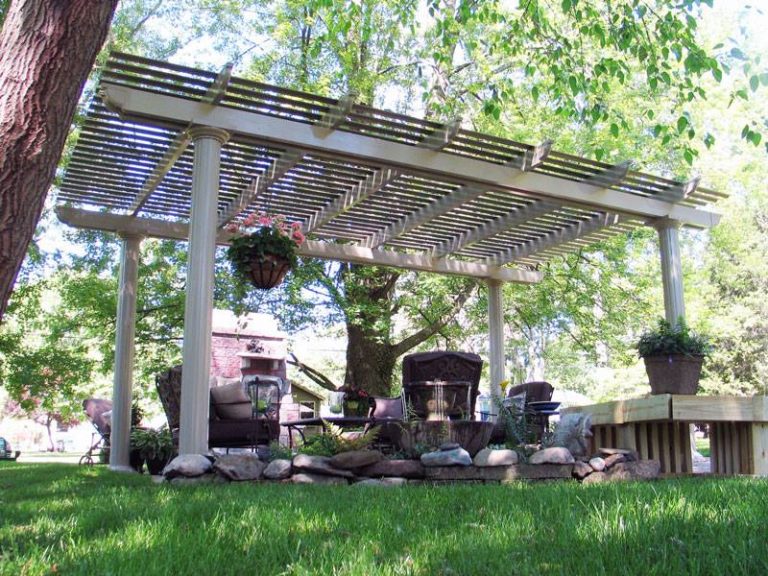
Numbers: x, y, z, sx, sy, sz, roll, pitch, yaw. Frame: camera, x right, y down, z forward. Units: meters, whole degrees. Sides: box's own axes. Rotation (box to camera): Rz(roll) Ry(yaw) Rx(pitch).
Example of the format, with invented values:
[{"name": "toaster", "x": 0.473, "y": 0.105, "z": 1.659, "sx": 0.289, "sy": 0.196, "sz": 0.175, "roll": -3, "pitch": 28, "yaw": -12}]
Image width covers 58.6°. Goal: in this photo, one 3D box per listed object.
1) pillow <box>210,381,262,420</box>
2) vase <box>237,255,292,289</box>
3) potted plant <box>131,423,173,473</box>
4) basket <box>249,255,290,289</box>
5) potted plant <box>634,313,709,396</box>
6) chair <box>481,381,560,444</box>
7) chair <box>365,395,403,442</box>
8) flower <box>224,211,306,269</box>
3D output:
[{"name": "pillow", "x": -1.682, "y": 1.222, "z": 7.596, "sx": 0.392, "sy": 0.451, "sz": 0.178, "roll": -5, "pitch": 5, "yaw": -15}, {"name": "vase", "x": -1.311, "y": -0.149, "z": 7.531, "sx": 0.356, "sy": 0.306, "sz": 0.386, "roll": -3, "pitch": -10, "yaw": 11}, {"name": "potted plant", "x": -2.901, "y": 2.036, "z": 8.538, "sx": 0.597, "sy": 0.659, "sz": 0.648, "roll": 2, "pitch": -14, "yaw": -8}, {"name": "basket", "x": -1.284, "y": -0.130, "z": 7.540, "sx": 0.332, "sy": 0.286, "sz": 0.359, "roll": 1, "pitch": -11, "yaw": -6}, {"name": "potted plant", "x": 3.229, "y": 0.762, "z": 7.618, "sx": 0.745, "sy": 0.870, "sz": 0.550, "roll": -2, "pitch": -12, "yaw": 16}, {"name": "chair", "x": 1.729, "y": 1.472, "z": 8.344, "sx": 0.789, "sy": 0.826, "sz": 2.070, "roll": -2, "pitch": -14, "yaw": 14}, {"name": "chair", "x": 0.030, "y": 1.722, "z": 9.473, "sx": 0.492, "sy": 0.636, "sz": 0.605, "roll": -1, "pitch": -41, "yaw": 2}, {"name": "flower", "x": -1.385, "y": -0.475, "z": 7.597, "sx": 0.646, "sy": 0.529, "sz": 0.670, "roll": -15, "pitch": -23, "yaw": 38}]
